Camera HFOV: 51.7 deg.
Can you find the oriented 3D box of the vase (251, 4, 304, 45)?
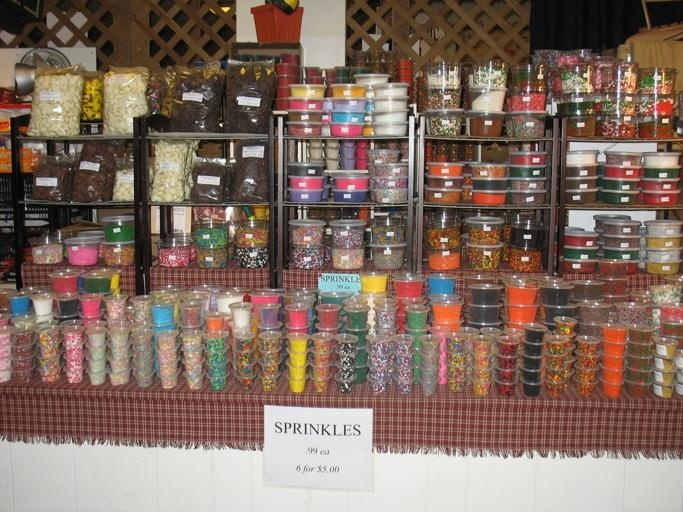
[{"bbox_3d":[-0.509,-1.812,5.669,0.330,0.279,0.392,-11,18,-42],"label":"vase"}]
